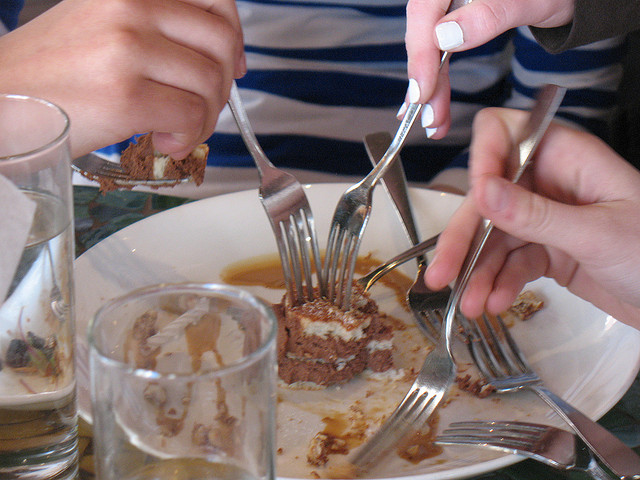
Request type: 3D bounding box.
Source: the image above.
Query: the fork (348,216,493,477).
[{"bbox_3d":[0.158,0.169,1.015,0.046,0.046,0.400,27,65,16],"label":"fork"}]

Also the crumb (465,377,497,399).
[{"bbox_3d":[0.239,0.220,0.984,0.031,0.009,0.031,-39,33,-17],"label":"crumb"}]

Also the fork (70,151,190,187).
[{"bbox_3d":[-0.386,-0.135,1.345,0.182,0.030,0.087,9,27,2],"label":"fork"}]

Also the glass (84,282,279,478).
[{"bbox_3d":[-0.121,0.132,0.615,0.164,0.138,0.134,2,40,1],"label":"glass"}]

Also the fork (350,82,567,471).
[{"bbox_3d":[0.227,0.070,1.079,0.091,0.091,0.806,27,81,36],"label":"fork"}]

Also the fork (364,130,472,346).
[{"bbox_3d":[0.154,-0.030,1.280,0.097,0.060,0.520,-12,53,-10],"label":"fork"}]

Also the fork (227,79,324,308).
[{"bbox_3d":[-0.096,-0.101,1.348,0.073,0.570,0.064,-17,3,-1],"label":"fork"}]

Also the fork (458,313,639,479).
[{"bbox_3d":[0.306,0.213,0.982,0.063,0.056,0.384,-17,35,-13],"label":"fork"}]

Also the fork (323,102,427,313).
[{"bbox_3d":[0.104,-0.062,1.322,0.067,0.562,0.066,-6,33,-47],"label":"fork"}]
